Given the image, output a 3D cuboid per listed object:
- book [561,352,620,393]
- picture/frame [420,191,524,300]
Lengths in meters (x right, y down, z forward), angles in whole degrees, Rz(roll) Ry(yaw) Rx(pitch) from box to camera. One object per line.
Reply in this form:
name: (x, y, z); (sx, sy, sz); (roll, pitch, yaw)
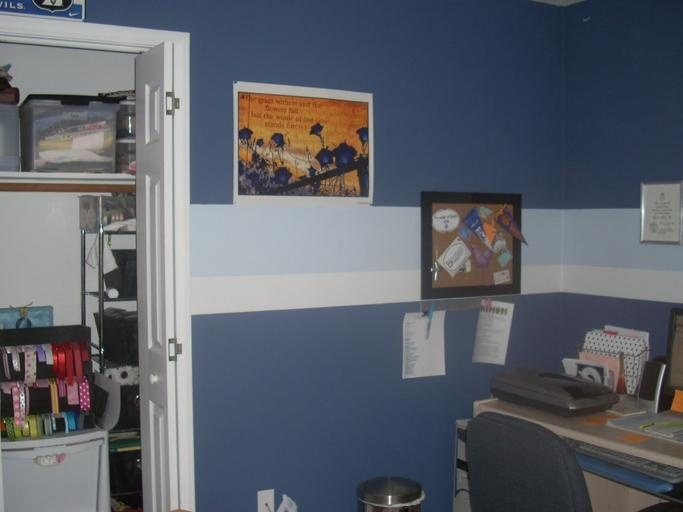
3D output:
book: (1.438, 0.658, 3.365); (0.295, 0.197, 0.143); (1, 3, 41)
picture/frame: (0.813, -0.075, 3.617); (0.727, 0.638, 0.035); (-2, 3, -23)
